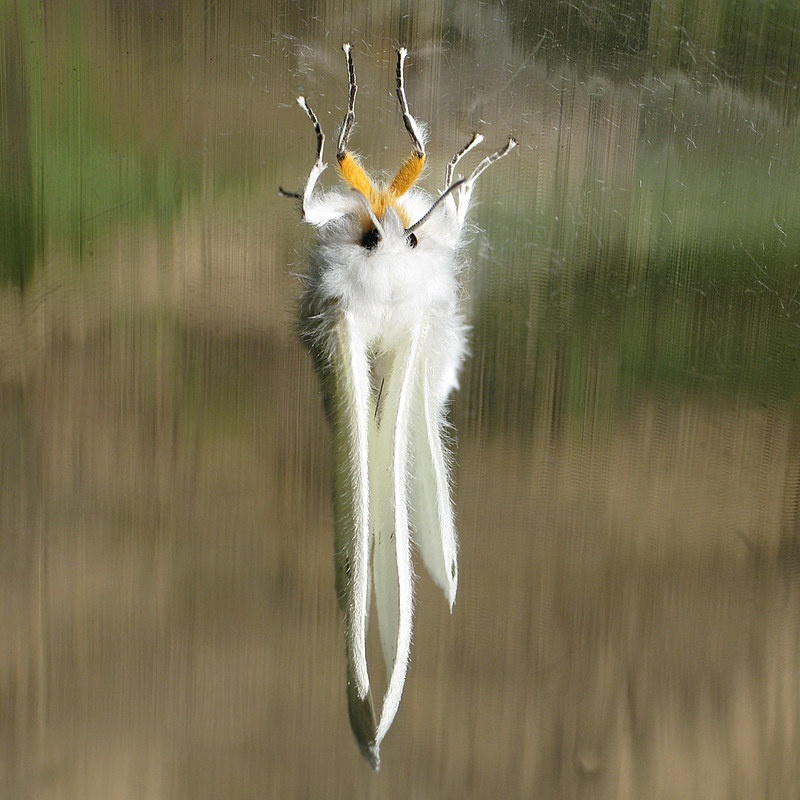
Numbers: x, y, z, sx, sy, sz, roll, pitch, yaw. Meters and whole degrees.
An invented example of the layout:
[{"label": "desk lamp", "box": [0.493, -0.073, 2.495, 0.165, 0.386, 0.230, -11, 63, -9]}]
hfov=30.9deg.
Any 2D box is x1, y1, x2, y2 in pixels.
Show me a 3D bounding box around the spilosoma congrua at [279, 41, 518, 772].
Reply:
[{"label": "spilosoma congrua", "box": [-0.011, 0.020, 1.720, 0.200, 0.837, 0.344, 1, -1, -4]}]
